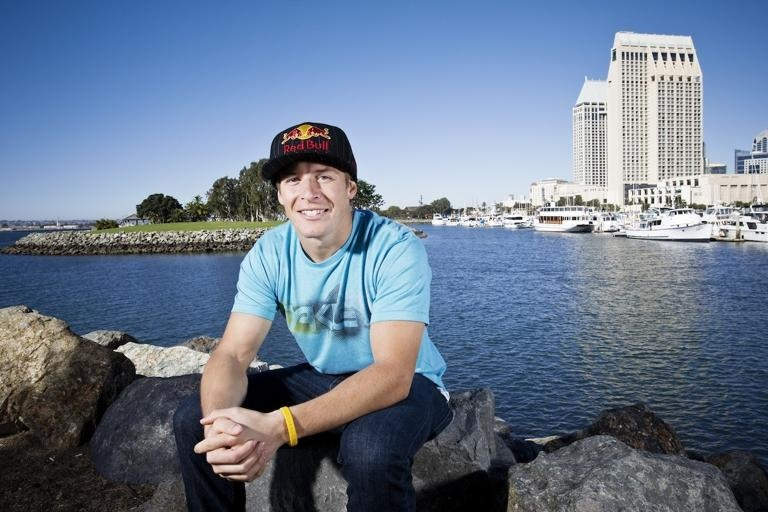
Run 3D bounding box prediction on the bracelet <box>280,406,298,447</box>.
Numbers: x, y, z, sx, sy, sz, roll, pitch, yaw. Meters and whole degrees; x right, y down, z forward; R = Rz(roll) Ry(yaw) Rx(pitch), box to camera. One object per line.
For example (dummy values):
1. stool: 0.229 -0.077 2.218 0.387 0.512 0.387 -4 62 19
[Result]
1. bracelet: -0.742 1.340 3.960 0.140 0.325 0.081 1 7 43
